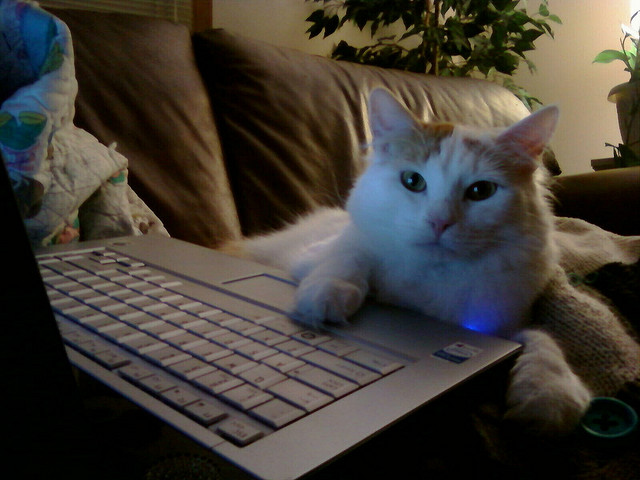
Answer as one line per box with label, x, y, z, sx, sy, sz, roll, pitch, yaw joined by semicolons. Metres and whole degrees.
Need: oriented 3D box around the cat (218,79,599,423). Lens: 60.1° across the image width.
cat;0.170;0.004;0.782;0.322;0.199;0.460;11;-4;2
